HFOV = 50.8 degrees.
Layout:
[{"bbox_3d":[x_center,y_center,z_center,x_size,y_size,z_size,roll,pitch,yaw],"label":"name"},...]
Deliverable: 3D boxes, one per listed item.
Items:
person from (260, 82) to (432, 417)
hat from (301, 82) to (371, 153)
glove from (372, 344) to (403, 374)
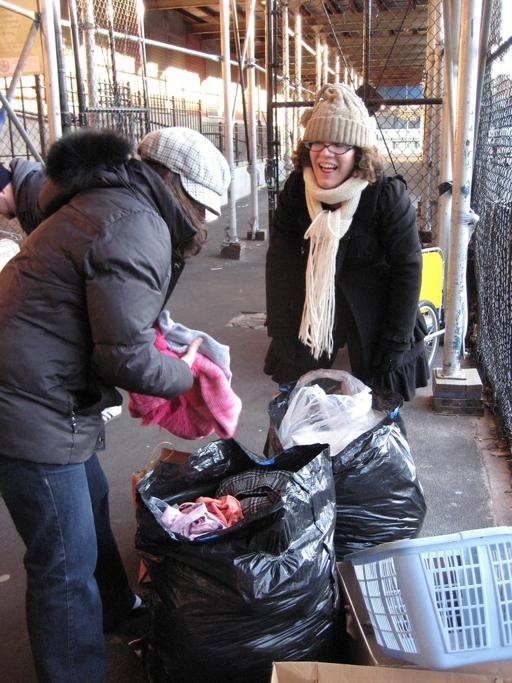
[{"bbox_3d":[0.391,-0.303,2.402,0.756,1.451,0.609,7,25,19],"label":"person"},{"bbox_3d":[0.323,-0.899,2.133,0.269,0.216,0.359,22,29,28],"label":"hat"},{"bbox_3d":[0.584,0.081,2.360,0.051,0.119,0.094,21,23,-35],"label":"glove"}]
